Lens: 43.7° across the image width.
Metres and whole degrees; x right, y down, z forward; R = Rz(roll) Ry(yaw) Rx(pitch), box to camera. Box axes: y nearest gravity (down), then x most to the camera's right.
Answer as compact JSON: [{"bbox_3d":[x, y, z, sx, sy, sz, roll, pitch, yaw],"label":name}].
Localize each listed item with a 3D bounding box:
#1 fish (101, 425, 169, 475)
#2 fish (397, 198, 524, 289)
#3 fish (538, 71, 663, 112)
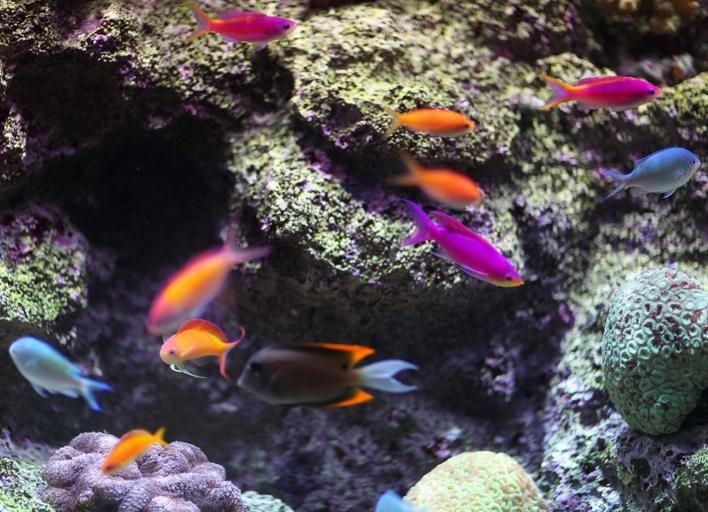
[{"bbox_3d":[-1.330,1.207,5.330,0.192,0.267,0.385,23,46,26],"label":"fish"},{"bbox_3d":[0.668,-0.042,5.456,0.829,0.312,0.161,29,43,18],"label":"fish"},{"bbox_3d":[1.556,-1.031,5.550,0.736,0.224,0.167,-5,41,-5],"label":"fish"}]
